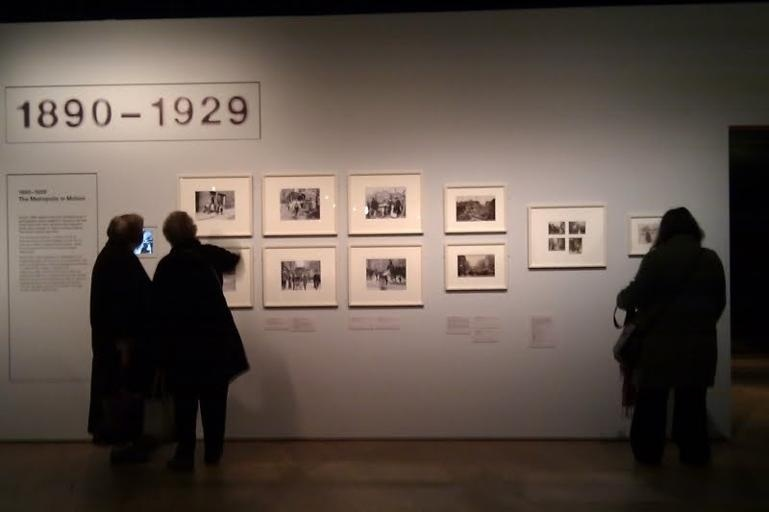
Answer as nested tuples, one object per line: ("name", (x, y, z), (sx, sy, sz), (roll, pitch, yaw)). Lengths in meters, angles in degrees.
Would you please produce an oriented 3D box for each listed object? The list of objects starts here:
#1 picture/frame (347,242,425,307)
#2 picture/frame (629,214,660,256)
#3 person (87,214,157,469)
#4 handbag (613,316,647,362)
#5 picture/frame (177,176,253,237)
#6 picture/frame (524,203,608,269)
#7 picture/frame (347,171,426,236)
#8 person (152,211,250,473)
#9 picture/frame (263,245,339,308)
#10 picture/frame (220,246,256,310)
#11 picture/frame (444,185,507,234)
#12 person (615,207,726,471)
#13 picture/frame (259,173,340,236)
("picture/frame", (0.039, 0.162, 7.278), (0.657, 0.560, 0.050), (0, -2, 0))
("picture/frame", (2.628, -0.237, 7.072), (0.413, 0.421, 0.030), (1, 10, 14))
("person", (-2.535, 0.816, 6.869), (0.746, 2.387, 0.301), (2, 3, 21))
("handbag", (2.426, 0.820, 6.990), (0.223, 0.434, 0.114), (22, 20, 37))
("picture/frame", (-1.757, -0.500, 7.113), (0.613, 0.521, 0.062), (-1, -6, -10))
("picture/frame", (1.897, -0.208, 7.186), (0.657, 0.562, 0.030), (0, -1, 2))
("picture/frame", (0.038, -0.545, 7.273), (0.647, 0.529, 0.027), (0, 1, 2))
("person", (-1.831, 0.833, 6.875), (0.831, 2.494, 0.267), (0, 3, -18))
("picture/frame", (-0.901, 0.190, 7.272), (0.638, 0.514, 0.028), (0, -2, -3))
("picture/frame", (-1.604, 0.191, 7.176), (0.516, 0.686, 0.028), (0, 24, -10))
("picture/frame", (0.969, -0.482, 7.251), (0.487, 0.397, 0.040), (0, -3, 1))
("person", (2.822, 0.791, 6.938), (0.929, 2.500, 0.331), (0, 3, -4))
("picture/frame", (-0.915, -0.550, 7.262), (0.636, 0.515, 0.029), (0, -2, -4))
